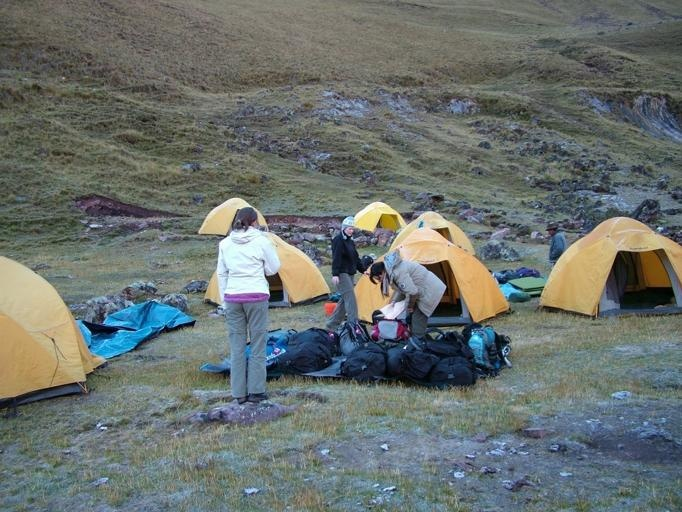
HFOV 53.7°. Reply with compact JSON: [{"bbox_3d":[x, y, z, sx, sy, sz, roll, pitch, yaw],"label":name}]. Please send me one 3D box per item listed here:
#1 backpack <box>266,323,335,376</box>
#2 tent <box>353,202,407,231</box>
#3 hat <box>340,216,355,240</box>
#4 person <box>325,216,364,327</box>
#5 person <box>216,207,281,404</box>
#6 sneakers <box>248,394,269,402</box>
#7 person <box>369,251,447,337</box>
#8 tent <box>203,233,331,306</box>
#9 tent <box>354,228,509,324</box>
[{"bbox_3d":[-0.670,1.823,13.144,0.889,0.371,1.120,3,12,33],"label":"backpack"},{"bbox_3d":[1.870,-1.790,31.693,2.939,1.121,2.398,-3,4,-32],"label":"tent"},{"bbox_3d":[0.137,-0.660,15.261,0.294,0.467,0.635,-1,2,-1],"label":"hat"},{"bbox_3d":[0.076,0.389,15.090,0.833,2.528,0.913,-1,3,1],"label":"person"},{"bbox_3d":[-1.564,0.824,11.283,0.988,3.301,0.430,-2,3,-7],"label":"person"},{"bbox_3d":[-1.417,2.386,11.402,0.378,0.131,0.113,-4,5,-13],"label":"sneakers"},{"bbox_3d":[1.324,0.780,13.143,1.376,1.626,0.361,-1,3,2],"label":"person"},{"bbox_3d":[-2.078,0.332,20.369,3.089,1.513,3.121,-19,24,-38],"label":"tent"},{"bbox_3d":[2.984,0.597,17.753,3.601,1.467,3.001,-4,-1,12],"label":"tent"}]
